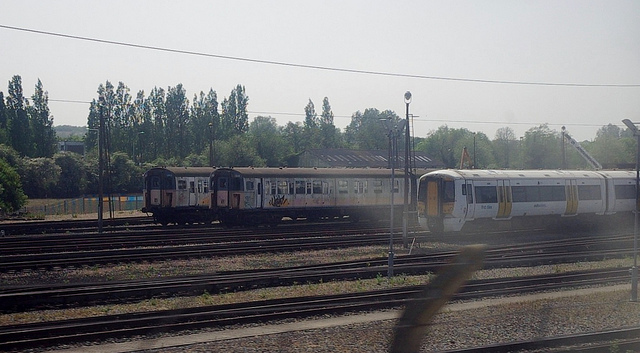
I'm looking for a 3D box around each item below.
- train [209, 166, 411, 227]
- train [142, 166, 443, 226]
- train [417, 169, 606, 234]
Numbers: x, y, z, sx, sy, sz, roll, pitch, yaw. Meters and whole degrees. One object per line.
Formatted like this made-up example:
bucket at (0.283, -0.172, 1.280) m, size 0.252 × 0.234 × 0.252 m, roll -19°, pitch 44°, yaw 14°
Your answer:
train at (0.247, 2.090, 64.038) m, size 24.397 × 5.754 × 4.762 m, roll 0°, pitch -2°, yaw -35°
train at (0.421, 2.591, 62.099) m, size 24.184 × 4.957 × 4.531 m, roll 0°, pitch -13°, yaw -5°
train at (18.876, 2.419, 56.792) m, size 19.318 × 5.778 × 3.822 m, roll 0°, pitch 1°, yaw -21°
